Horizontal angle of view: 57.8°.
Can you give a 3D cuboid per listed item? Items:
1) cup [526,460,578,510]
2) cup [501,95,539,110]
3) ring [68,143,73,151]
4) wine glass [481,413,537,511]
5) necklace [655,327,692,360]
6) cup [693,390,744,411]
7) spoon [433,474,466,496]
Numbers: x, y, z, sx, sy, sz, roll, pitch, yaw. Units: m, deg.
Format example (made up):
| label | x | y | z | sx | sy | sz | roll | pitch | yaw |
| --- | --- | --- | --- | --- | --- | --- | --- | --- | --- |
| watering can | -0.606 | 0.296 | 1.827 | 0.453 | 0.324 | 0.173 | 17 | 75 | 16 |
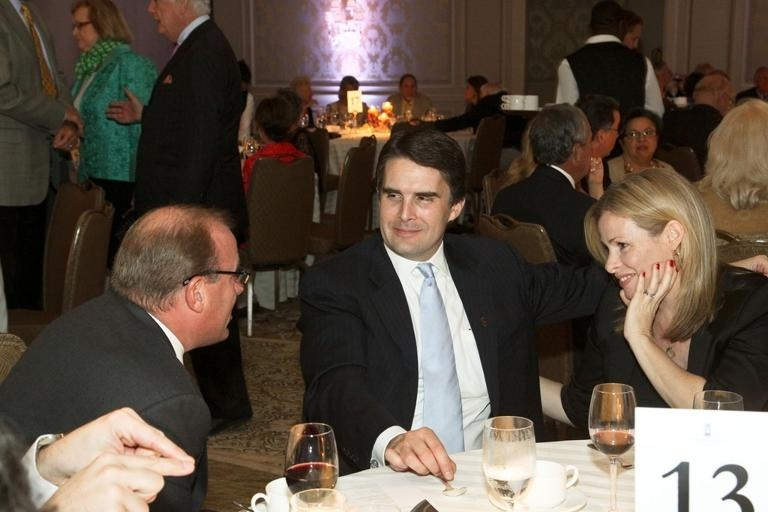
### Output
| label | x | y | z | sx | sy | sz | roll | pitch | yaw |
| --- | --- | --- | --- | --- | --- | --- | --- | --- | --- |
| cup | 0.413 | 0.568 | 1.726 | 0.095 | 0.105 | 0.148 | -4 | -9 | 35 |
| cup | 1.366 | -1.554 | 7.020 | 0.359 | 0.156 | 0.214 | 3 | 16 | 25 |
| ring | -1.775 | -0.622 | 3.917 | 0.027 | 0.008 | 0.027 | -18 | -15 | -5 |
| wine glass | 0.294 | 0.498 | 1.634 | 0.115 | 0.232 | 0.155 | -1 | 14 | 9 |
| necklace | 0.937 | 0.296 | 2.250 | 0.071 | 0.101 | 0.096 | 3 | 41 | 26 |
| cup | 0.814 | 0.330 | 1.681 | 0.077 | 0.083 | 0.081 | 1 | -9 | 0 |
| spoon | 0.159 | 0.573 | 1.735 | 0.092 | 0.027 | 0.051 | 7 | 18 | 36 |
